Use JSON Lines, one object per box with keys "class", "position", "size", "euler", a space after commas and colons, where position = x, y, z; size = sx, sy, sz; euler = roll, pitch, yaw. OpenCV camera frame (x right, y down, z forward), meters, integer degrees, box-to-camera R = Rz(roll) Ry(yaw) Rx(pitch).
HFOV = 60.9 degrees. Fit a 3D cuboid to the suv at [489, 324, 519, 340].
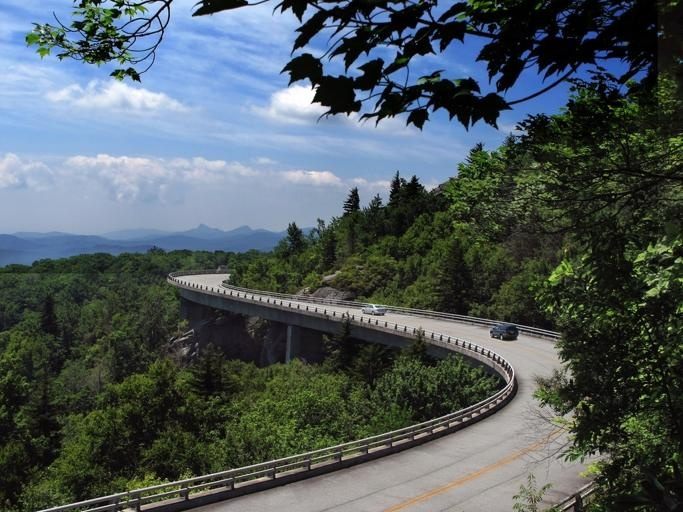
{"class": "suv", "position": [14.393, 6.644, 52.024], "size": [1.217, 1.094, 2.079], "euler": [-1, 9, -20]}
